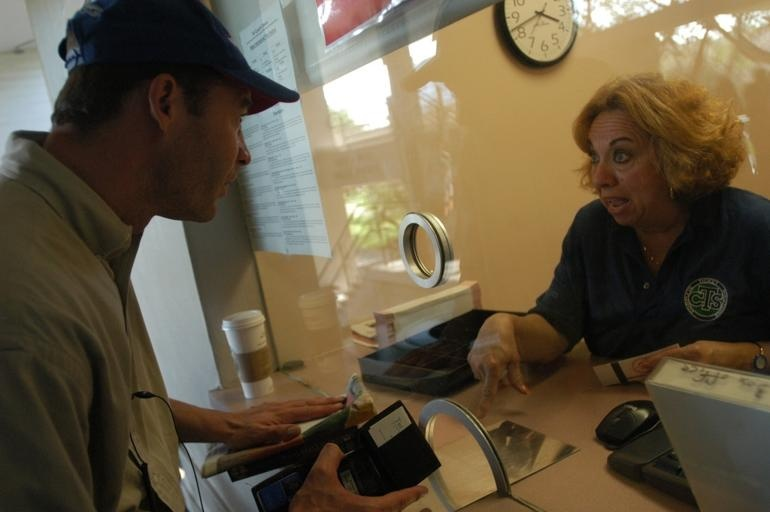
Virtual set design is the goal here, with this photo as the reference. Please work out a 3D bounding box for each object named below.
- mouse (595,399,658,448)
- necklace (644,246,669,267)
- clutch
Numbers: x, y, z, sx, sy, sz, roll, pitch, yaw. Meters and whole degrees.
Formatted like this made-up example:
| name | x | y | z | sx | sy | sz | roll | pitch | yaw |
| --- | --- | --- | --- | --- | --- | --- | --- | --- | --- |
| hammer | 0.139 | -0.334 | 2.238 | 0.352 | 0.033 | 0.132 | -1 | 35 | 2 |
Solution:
| name | x | y | z | sx | sy | sz | roll | pitch | yaw |
| --- | --- | --- | --- | --- | --- | --- | --- | --- | --- |
| mouse | 0.506 | 0.351 | 1.140 | 0.112 | 0.037 | 0.081 | -33 | 28 | -22 |
| necklace | 0.617 | 0.000 | 1.221 | 0.045 | 0.023 | 0.062 | -1 | -7 | 10 |
| clutch | -0.066 | 0.497 | 1.214 | 0.410 | 0.218 | 0.057 | -32 | -41 | 0 |
